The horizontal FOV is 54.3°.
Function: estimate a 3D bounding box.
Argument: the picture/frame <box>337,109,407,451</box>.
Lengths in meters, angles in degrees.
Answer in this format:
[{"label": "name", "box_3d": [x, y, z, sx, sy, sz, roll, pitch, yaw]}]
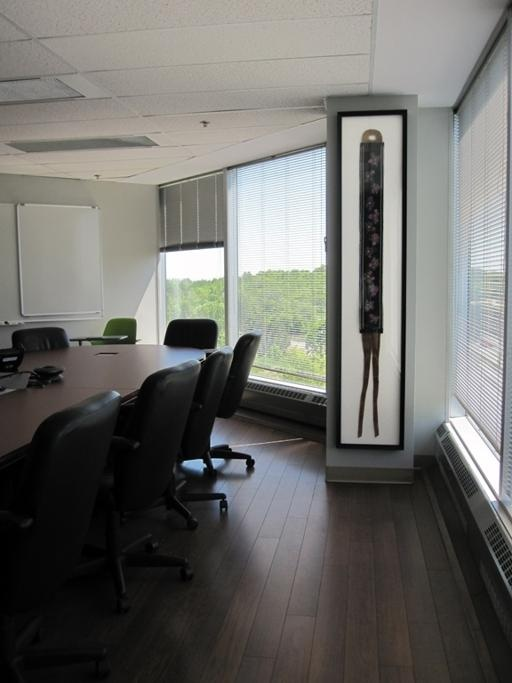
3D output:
[{"label": "picture/frame", "box_3d": [0.694, -0.351, 3.000, 0.384, 2.003, 0.110, 0, 3, 13]}]
